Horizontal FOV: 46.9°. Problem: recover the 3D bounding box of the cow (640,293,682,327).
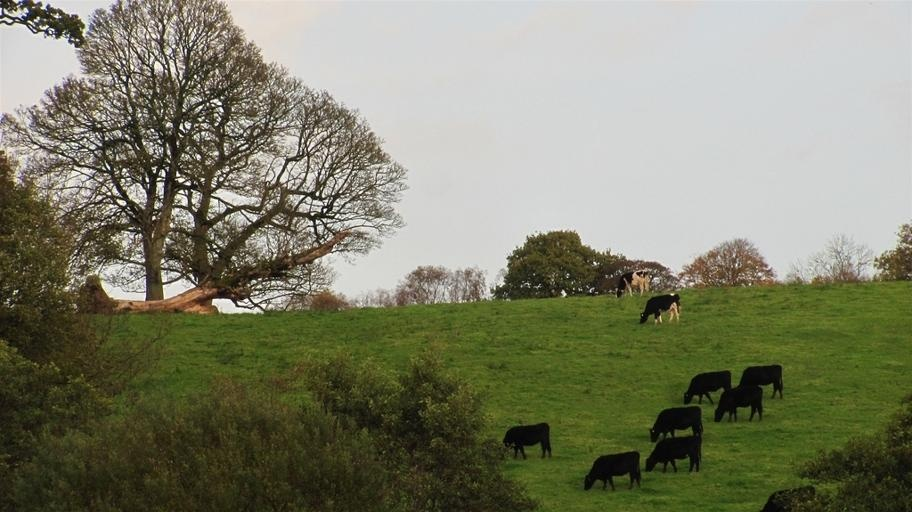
[{"bbox_3d":[13.701,3.530,70.057,2.819,2.552,1.959,15,-18,-20],"label":"cow"}]
